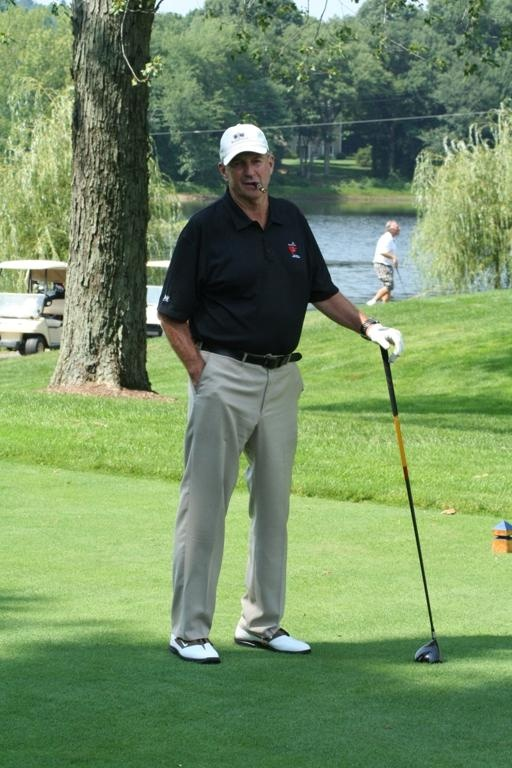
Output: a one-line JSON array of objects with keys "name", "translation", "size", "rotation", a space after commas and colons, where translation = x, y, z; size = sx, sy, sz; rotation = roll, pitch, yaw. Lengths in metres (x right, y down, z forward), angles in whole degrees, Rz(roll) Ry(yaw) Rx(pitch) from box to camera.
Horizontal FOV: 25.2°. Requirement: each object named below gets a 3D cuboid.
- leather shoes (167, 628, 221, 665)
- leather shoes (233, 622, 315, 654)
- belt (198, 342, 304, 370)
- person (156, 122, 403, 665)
[{"name": "leather shoes", "translation": [-0.197, 0.861, 3.712], "size": [0.130, 0.054, 0.180], "rotation": [1, 5, -23]}, {"name": "leather shoes", "translation": [0.049, 0.873, 3.909], "size": [0.099, 0.072, 0.323], "rotation": [-2, 7, -44]}, {"name": "belt", "translation": [-0.012, -0.124, 3.940], "size": [0.212, 0.123, 0.222], "rotation": [-2, 9, -31]}, {"name": "person", "translation": [0.004, 0.011, 3.923], "size": [0.645, 1.783, 0.587], "rotation": [1, 6, -18]}]
